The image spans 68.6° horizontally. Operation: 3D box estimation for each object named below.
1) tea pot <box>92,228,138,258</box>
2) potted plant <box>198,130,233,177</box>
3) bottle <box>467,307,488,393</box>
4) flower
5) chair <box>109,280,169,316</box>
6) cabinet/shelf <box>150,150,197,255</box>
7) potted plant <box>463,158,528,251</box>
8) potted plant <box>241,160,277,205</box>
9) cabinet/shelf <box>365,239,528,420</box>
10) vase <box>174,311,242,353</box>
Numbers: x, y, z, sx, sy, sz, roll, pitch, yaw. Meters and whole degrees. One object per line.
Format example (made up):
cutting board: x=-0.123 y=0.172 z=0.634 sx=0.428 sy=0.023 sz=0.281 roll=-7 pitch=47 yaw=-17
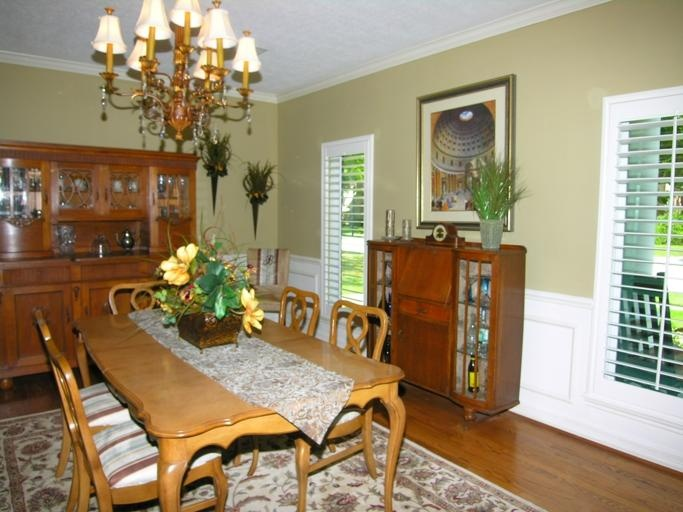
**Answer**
tea pot: x=-2.552 y=-0.157 z=5.660 sx=0.463 sy=0.256 sz=0.329 roll=-10 pitch=17 yaw=-36
potted plant: x=-1.551 y=-1.344 z=6.403 sx=0.324 sy=0.495 sz=0.351 roll=-3 pitch=-15 yaw=14
bottle: x=1.144 y=0.794 z=4.235 sx=0.160 sy=0.744 sz=0.332 roll=4 pitch=15 yaw=14
flower: x=-0.821 y=0.087 z=3.176 sx=0.630 sy=0.678 sz=0.380 roll=1 pitch=8 yaw=25
chair: x=-1.746 y=0.362 z=4.327 sx=0.334 sy=0.463 sz=0.290 roll=-4 pitch=8 yaw=-32
cabinet/shelf: x=-1.926 y=-0.601 z=5.888 sx=0.568 sy=1.122 sz=0.285 roll=-1 pitch=-4 yaw=-5
potted plant: x=1.288 y=-0.443 z=4.253 sx=0.432 sy=0.765 sz=0.430 roll=0 pitch=5 yaw=-16
potted plant: x=-1.093 y=-0.981 z=6.866 sx=0.525 sy=0.727 sz=0.496 roll=0 pitch=3 yaw=-36
cabinet/shelf: x=0.941 y=0.635 z=4.208 sx=0.472 sy=1.485 sz=1.374 roll=-3 pitch=6 yaw=-38
vase: x=-0.851 y=0.481 z=3.284 sx=0.312 sy=0.201 sz=0.249 roll=-6 pitch=10 yaw=-38
